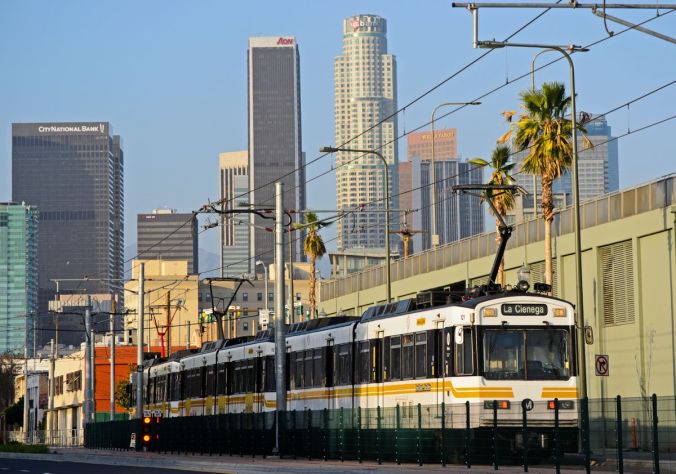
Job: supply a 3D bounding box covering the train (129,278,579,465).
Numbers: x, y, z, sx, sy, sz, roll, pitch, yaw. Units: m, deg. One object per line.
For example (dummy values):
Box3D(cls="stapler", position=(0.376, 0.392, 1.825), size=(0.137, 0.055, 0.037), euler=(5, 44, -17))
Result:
Box3D(cls="train", position=(-1.394, 8.119, 98.551), size=(8.435, 10.856, 42.718), euler=(1, -5, -31))
